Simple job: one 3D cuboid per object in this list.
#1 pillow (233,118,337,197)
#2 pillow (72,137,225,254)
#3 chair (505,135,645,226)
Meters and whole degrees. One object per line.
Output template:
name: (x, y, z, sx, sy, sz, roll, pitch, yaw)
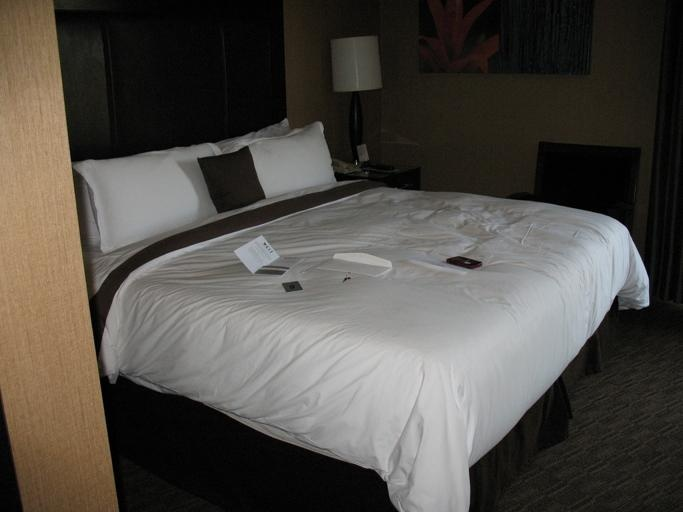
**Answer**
pillow: (-0.347, -0.725, 3.696, 0.700, 0.530, 0.183, -24, 12, -41)
pillow: (-1.331, -0.199, 3.276, 0.628, 0.327, 1.066, -15, -24, -30)
chair: (2.066, -0.713, 4.460, 0.771, 1.197, 0.906, 10, 13, 29)
